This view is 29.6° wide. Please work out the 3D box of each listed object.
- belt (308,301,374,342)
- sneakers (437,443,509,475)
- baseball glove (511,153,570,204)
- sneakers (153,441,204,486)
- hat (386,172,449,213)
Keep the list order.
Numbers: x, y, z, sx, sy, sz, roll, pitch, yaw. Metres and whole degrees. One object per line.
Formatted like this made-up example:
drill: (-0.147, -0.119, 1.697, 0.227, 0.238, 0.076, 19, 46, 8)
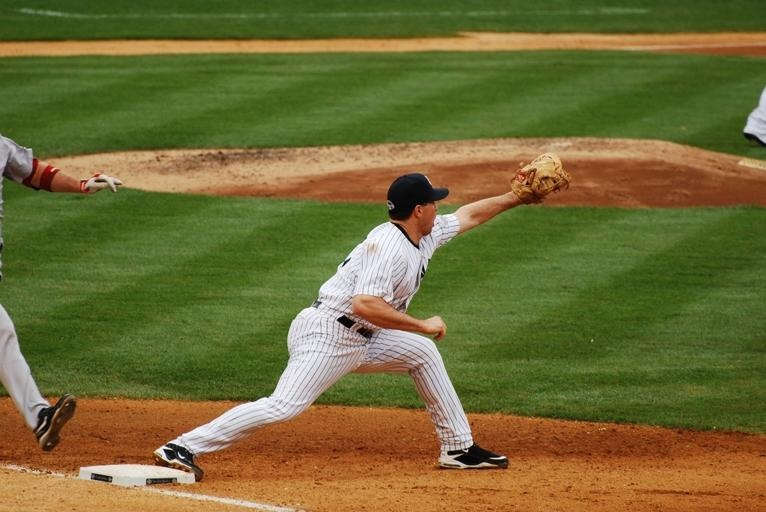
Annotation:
belt: (-0.397, 0.605, 13.578, 0.527, 0.108, 0.348, 25, -3, -2)
sneakers: (0.830, 1.961, 13.978, 0.730, 0.204, 0.232, 0, -2, 0)
baseball glove: (1.522, -0.703, 13.978, 0.673, 0.248, 0.459, -12, 7, 4)
sneakers: (-1.922, 1.868, 13.519, 0.525, 0.198, 0.177, 24, -10, -21)
hat: (0.294, -0.629, 13.687, 0.689, 0.244, 0.363, -13, 1, -15)
